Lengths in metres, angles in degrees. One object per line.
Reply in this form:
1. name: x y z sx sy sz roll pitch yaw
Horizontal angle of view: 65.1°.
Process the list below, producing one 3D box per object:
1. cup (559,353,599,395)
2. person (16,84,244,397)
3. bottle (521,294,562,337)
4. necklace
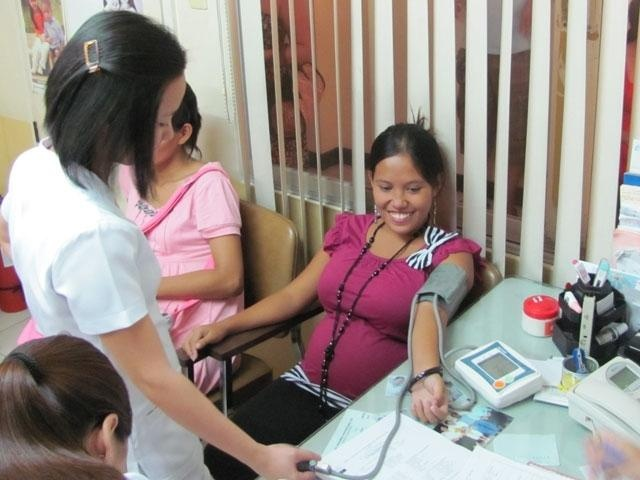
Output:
1. cup: 0.559 0.291 1.083 0.046 0.066 0.063 7 34 12
2. person: -0.716 0.027 1.825 0.814 1.195 0.624 -14 15 -41
3. bottle: 0.586 0.196 1.318 0.080 0.080 0.087 2 33 33
4. necklace: 0.163 0.177 1.654 0.205 0.757 0.040 16 -7 39
